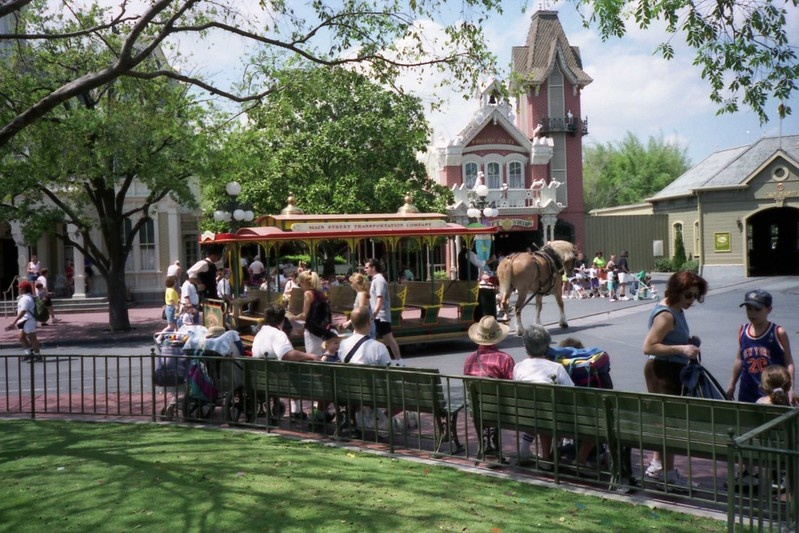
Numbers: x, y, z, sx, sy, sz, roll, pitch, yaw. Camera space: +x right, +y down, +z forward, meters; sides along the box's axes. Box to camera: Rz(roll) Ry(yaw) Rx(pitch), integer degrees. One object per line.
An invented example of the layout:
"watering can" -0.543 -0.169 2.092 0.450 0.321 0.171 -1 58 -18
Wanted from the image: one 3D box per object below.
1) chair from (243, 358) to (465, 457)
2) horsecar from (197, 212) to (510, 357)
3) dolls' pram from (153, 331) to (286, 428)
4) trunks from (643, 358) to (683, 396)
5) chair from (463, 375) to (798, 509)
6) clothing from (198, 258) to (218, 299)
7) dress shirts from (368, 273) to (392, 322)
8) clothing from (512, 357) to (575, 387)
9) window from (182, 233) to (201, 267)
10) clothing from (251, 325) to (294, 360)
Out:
"chair" -0.907 2.514 17.285 4.345 1.419 1.400 0 -1 32
"horsecar" -1.441 0.560 26.589 8.440 4.440 3.836 -2 2 8
"dolls' pram" -3.696 2.065 18.483 1.631 1.849 2.341 -1 1 11
"trunks" 4.412 1.857 15.429 0.559 0.966 0.659 -3 -5 29
"chair" 3.917 2.826 15.298 5.054 1.991 2.243 -4 -5 28
"clothing" -4.942 0.342 23.312 0.700 1.122 0.808 1 0 -20
"dress shirts" -0.415 0.730 20.945 0.463 1.006 0.796 -6 -7 -5
"clothing" 2.445 1.755 15.520 0.880 0.658 0.469 7 13 22
"window" -10.548 -0.520 46.633 0.774 1.912 0.156 -1 24 -12
"clothing" -2.415 1.440 17.394 0.815 0.647 0.487 -1 -5 1
